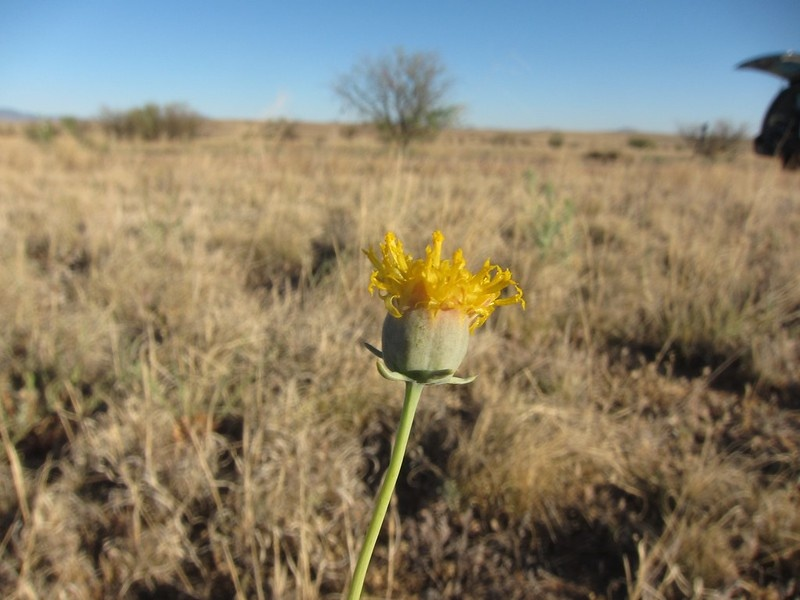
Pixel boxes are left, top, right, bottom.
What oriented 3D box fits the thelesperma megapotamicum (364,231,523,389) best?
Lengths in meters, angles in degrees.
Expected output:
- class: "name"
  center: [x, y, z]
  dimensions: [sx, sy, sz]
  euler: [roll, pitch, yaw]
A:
- class: "thelesperma megapotamicum"
  center: [0.090, 0.007, 2.526]
  dimensions: [0.546, 0.646, 0.563]
  euler: [25, -16, -22]
